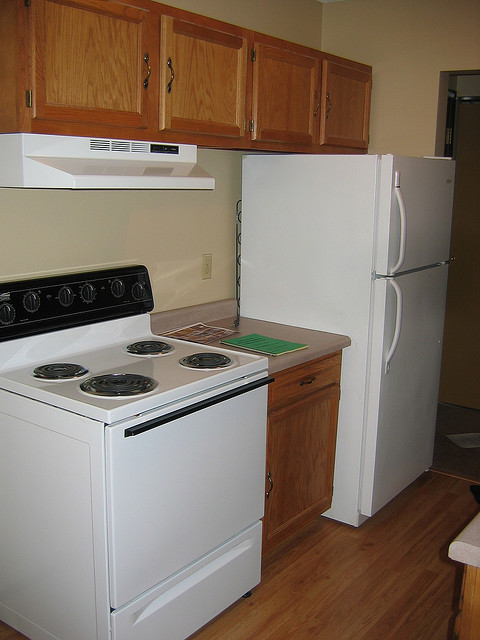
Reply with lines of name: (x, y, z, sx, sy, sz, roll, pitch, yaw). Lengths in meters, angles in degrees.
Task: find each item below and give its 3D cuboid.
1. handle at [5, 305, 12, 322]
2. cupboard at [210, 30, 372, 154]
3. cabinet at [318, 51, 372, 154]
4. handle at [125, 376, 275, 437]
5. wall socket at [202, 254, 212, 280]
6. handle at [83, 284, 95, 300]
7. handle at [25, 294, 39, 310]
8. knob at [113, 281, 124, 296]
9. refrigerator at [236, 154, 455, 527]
handle: (-0.700, -0.025, 1.501, 0.008, 0.037, 0.028, -3, -10, 18)
cupboard: (0.273, -1.031, 2.360, 0.882, 0.442, 0.298, -13, 22, -40)
cabinet: (0.451, -1.106, 2.604, 0.269, 0.451, 0.521, 13, 21, 38)
handle: (-0.086, 0.236, 1.404, 0.032, 0.027, 0.642, 5, 8, 34)
wall socket: (-0.169, -0.264, 2.419, 0.014, 0.144, 0.104, 12, 17, 34)
handle: (-0.529, -0.096, 1.728, 0.010, 0.045, 0.043, 1, -3, 26)
handle: (-0.652, -0.059, 1.556, 0.009, 0.041, 0.039, 0, -3, 36)
knob: (-0.454, -0.118, 1.843, 0.011, 0.044, 0.042, -1, 14, 29)
refrigerator: (0.544, -0.003, 2.577, 0.832, 2.019, 0.864, 12, 15, 44)
